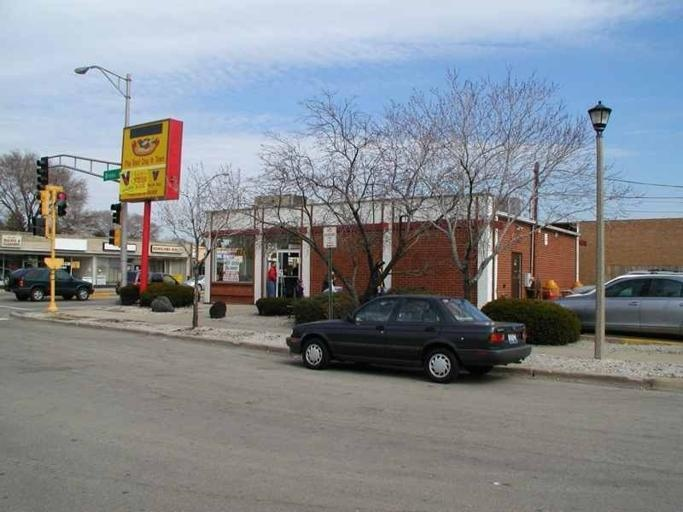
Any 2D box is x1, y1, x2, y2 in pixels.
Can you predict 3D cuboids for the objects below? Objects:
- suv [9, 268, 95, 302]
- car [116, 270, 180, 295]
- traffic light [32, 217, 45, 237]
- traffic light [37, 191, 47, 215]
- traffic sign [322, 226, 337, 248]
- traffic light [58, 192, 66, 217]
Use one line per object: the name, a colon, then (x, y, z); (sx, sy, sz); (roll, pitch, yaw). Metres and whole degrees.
suv: (-15.744, 1.561, 34.772); (1.760, 1.888, 3.937); (1, 2, 31)
car: (-10.387, 1.396, 34.097); (2.570, 1.462, 1.443); (-1, -1, -45)
traffic light: (-12.458, -1.277, 26.439); (0.410, 0.813, 1.366); (-1, 2, -24)
traffic light: (-12.083, -2.206, 25.991); (0.270, 1.047, 1.171); (-1, 2, -25)
traffic sign: (-0.317, -0.492, 16.821); (0.283, 0.585, 0.355); (0, 2, -8)
traffic light: (-11.607, -2.239, 26.576); (0.311, 1.005, 1.534); (-1, 2, -24)
